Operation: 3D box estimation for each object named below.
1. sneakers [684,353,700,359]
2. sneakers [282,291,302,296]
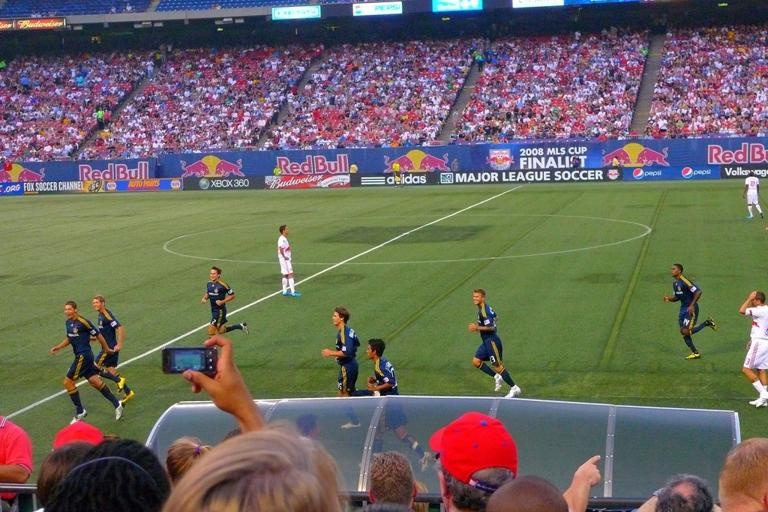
[{"bbox_3d":[9.808,3.174,31.511,0.532,0.225,0.176,2,4,17],"label":"sneakers"},{"bbox_3d":[-3.518,1.470,38.339,0.699,0.278,0.253,-2,2,17],"label":"sneakers"}]
